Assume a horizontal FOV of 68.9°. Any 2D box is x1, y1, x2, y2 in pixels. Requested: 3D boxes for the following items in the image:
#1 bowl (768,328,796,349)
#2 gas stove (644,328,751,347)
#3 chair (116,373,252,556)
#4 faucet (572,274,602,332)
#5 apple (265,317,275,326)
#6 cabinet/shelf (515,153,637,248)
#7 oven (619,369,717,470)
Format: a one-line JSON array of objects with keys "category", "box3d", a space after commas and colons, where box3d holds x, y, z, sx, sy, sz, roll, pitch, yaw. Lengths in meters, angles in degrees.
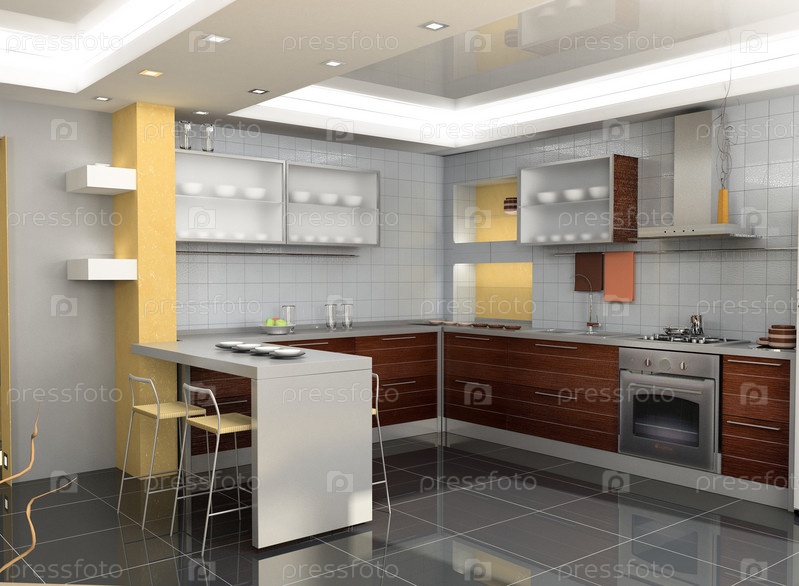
[{"category": "bowl", "box3d": [2.626, 0.316, 4.000, 0.158, 0.092, 0.155, 1, -3, 0]}, {"category": "gas stove", "box3d": [2.293, 0.341, 4.549, 0.607, 0.064, 0.672, -2, 4, -44]}, {"category": "chair", "box3d": [-1.550, 1.208, 4.097, 0.473, 0.738, 1.192, -3, 4, -42]}, {"category": "faucet", "box3d": [1.783, 0.091, 5.524, 0.176, 0.528, 0.312, 0, 4, -3]}, {"category": "apple", "box3d": [-1.204, 0.266, 5.335, 0.082, 0.065, 0.076, 1, 7, 16]}, {"category": "cabinet/shelf", "box3d": [1.661, -0.846, 5.397, 0.401, 0.680, 1.162, 1, -2, -40]}, {"category": "oven", "box3d": [2.046, 0.945, 4.562, 0.687, 0.688, 0.907, 3, -3, -40]}]
